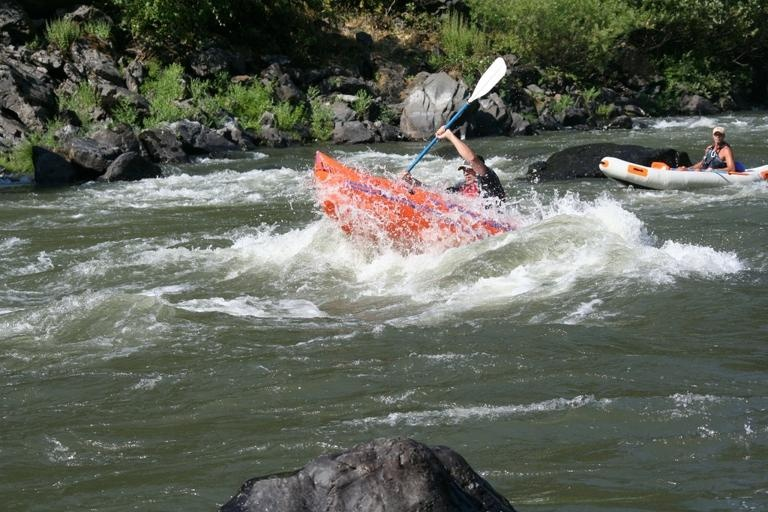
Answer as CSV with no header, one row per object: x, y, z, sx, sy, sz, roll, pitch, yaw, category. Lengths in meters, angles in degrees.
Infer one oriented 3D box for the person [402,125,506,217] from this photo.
2.054,-1.512,28.285,1.066,1.106,3.068,-38,-21,15,person

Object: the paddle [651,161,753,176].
7.420,-2.133,31.072,1.648,0.204,0.748,2,-1,-13,paddle

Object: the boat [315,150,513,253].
0.404,-1.023,28.011,1.670,1.576,5.759,9,3,43,boat
